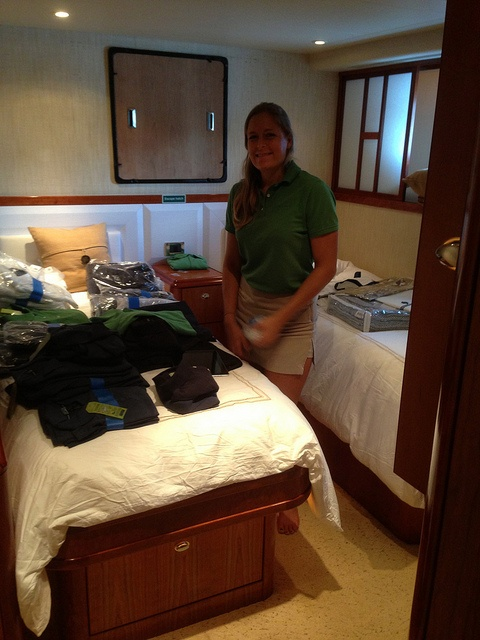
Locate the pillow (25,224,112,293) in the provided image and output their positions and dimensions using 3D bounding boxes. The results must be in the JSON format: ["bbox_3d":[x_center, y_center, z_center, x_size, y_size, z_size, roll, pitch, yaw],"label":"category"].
[{"bbox_3d":[-1.124,-0.395,2.961,0.394,0.425,0.174,-13,-22,-22],"label":"pillow"}]

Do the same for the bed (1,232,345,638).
[{"bbox_3d":[-0.150,0.328,1.718,1.079,0.291,1.141,-6,29,-13],"label":"bed"}]

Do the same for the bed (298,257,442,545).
[{"bbox_3d":[0.542,0.457,2.278,0.594,0.558,0.923,-7,24,-24],"label":"bed"}]
